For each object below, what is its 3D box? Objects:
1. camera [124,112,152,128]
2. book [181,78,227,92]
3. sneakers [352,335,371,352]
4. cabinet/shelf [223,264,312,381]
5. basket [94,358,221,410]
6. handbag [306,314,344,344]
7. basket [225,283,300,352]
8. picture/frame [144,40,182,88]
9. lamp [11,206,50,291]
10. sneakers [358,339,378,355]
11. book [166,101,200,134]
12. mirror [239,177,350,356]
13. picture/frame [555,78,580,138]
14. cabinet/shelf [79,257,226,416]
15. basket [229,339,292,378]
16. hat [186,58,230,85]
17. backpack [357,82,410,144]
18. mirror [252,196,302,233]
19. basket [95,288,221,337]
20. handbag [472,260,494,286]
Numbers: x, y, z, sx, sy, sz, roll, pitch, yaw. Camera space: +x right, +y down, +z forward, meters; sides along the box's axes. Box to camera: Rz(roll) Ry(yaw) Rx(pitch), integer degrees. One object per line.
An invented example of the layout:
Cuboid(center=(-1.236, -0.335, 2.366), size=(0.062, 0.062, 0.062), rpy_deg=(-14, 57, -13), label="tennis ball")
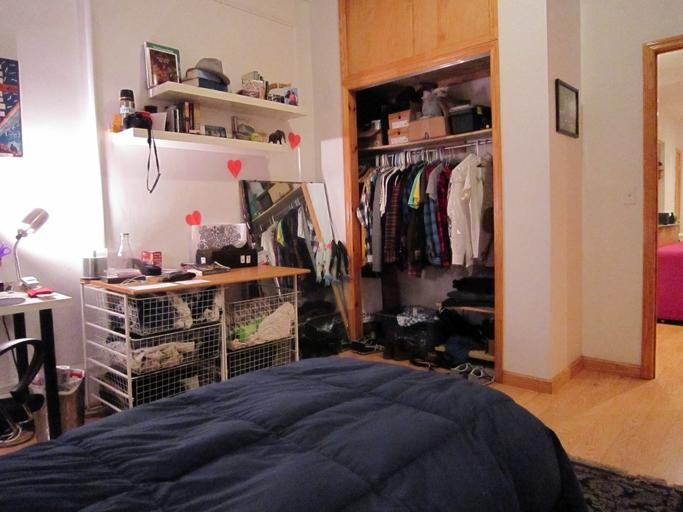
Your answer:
Cuboid(center=(-1.401, -0.935, 3.580), size=(0.158, 0.114, 0.116), rpy_deg=(-6, 13, -18), label="camera")
Cuboid(center=(-1.003, -1.279, 3.896), size=(0.154, 0.035, 0.155), rpy_deg=(6, 6, 43), label="book")
Cuboid(center=(0.204, 0.800, 4.727), size=(0.121, 0.081, 0.126), rpy_deg=(3, -2, -32), label="sneakers")
Cuboid(center=(-0.602, 0.529, 3.917), size=(0.683, 0.740, 0.589), rpy_deg=(-14, -14, 13), label="cabinet/shelf")
Cuboid(center=(-1.198, 0.837, 3.498), size=(0.415, 0.210, 0.654), rpy_deg=(0, 0, 42), label="basket")
Cuboid(center=(-0.141, 0.636, 4.615), size=(0.297, 0.267, 0.070), rpy_deg=(5, -7, -34), label="handbag")
Cuboid(center=(-0.583, 0.452, 3.873), size=(0.497, 0.282, 0.300), rpy_deg=(-9, 7, -23), label="basket")
Cuboid(center=(-1.311, -1.395, 3.842), size=(0.254, 0.336, 0.220), rpy_deg=(-4, 13, -23), label="picture/frame")
Cuboid(center=(-1.944, -0.072, 3.272), size=(0.235, 0.462, 0.373), rpy_deg=(-6, 14, -30), label="lamp")
Cuboid(center=(0.230, 0.824, 4.709), size=(0.156, 0.071, 0.094), rpy_deg=(6, -7, -44), label="sneakers")
Cuboid(center=(-1.169, -0.969, 3.862), size=(0.291, 0.283, 0.216), rpy_deg=(7, 8, 43), label="book")
Cuboid(center=(-0.394, 0.130, 4.657), size=(0.914, 1.625, 0.070), rpy_deg=(-2, 12, 8), label="mirror")
Cuboid(center=(1.636, -1.079, 3.796), size=(0.051, 0.447, 0.525), rpy_deg=(-1, 1, 34), label="picture/frame")
Cuboid(center=(-1.124, 0.564, 3.527), size=(0.736, 0.682, 0.517), rpy_deg=(-4, 1, -24), label="cabinet/shelf")
Cuboid(center=(-0.599, 0.845, 3.826), size=(0.431, 0.298, 0.223), rpy_deg=(-7, 11, -42), label="basket")
Cuboid(center=(-1.011, -1.376, 3.920), size=(0.246, 0.092, 0.204), rpy_deg=(13, 8, -41), label="hat")
Cuboid(center=(0.381, -1.321, 4.862), size=(0.353, 0.430, 0.613), rpy_deg=(-9, 10, -41), label="backpack")
Cuboid(center=(-0.544, -0.367, 4.544), size=(0.086, 0.282, 0.579), rpy_deg=(9, 14, 35), label="mirror")
Cuboid(center=(-1.202, 0.328, 3.417), size=(0.766, 0.259, 0.495), rpy_deg=(-2, -19, -1), label="basket")
Cuboid(center=(1.189, 0.160, 4.382), size=(0.203, 0.210, 0.049), rpy_deg=(-1, -23, 31), label="handbag")
